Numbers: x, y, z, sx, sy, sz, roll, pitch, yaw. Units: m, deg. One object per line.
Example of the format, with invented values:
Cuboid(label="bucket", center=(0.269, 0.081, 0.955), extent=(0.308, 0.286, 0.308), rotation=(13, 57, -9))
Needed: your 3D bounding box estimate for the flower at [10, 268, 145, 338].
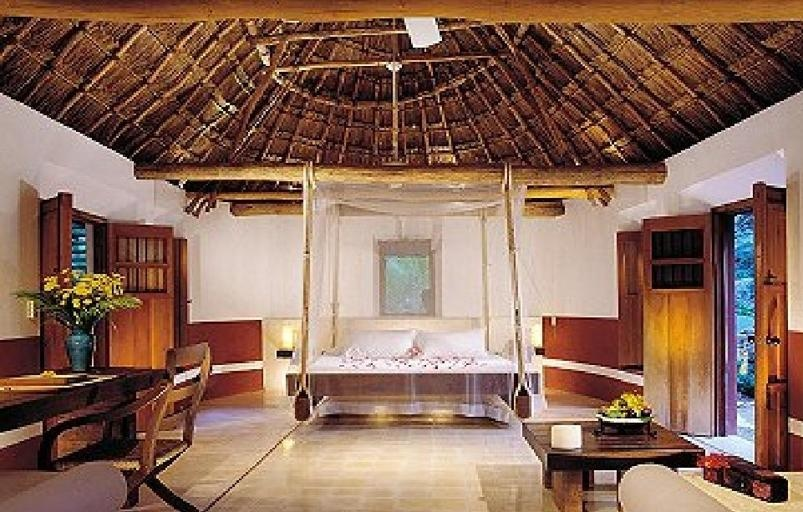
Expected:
Cuboid(label="flower", center=(-3.119, 0.440, 6.176), extent=(0.988, 0.596, 0.799), rotation=(1, 3, 34))
